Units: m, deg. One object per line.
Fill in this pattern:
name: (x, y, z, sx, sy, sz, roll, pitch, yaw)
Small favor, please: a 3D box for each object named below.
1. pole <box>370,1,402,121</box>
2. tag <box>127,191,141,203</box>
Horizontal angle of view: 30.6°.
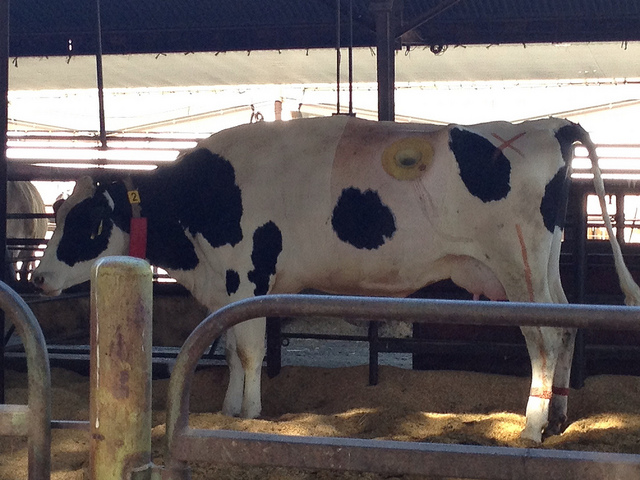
pole: (0.796, -2.170, 14.212, 0.321, 1.461, 0.491, 0, -2, 17)
tag: (-1.982, -0.448, 12.283, 0.099, 0.124, 0.012, -4, -3, -11)
